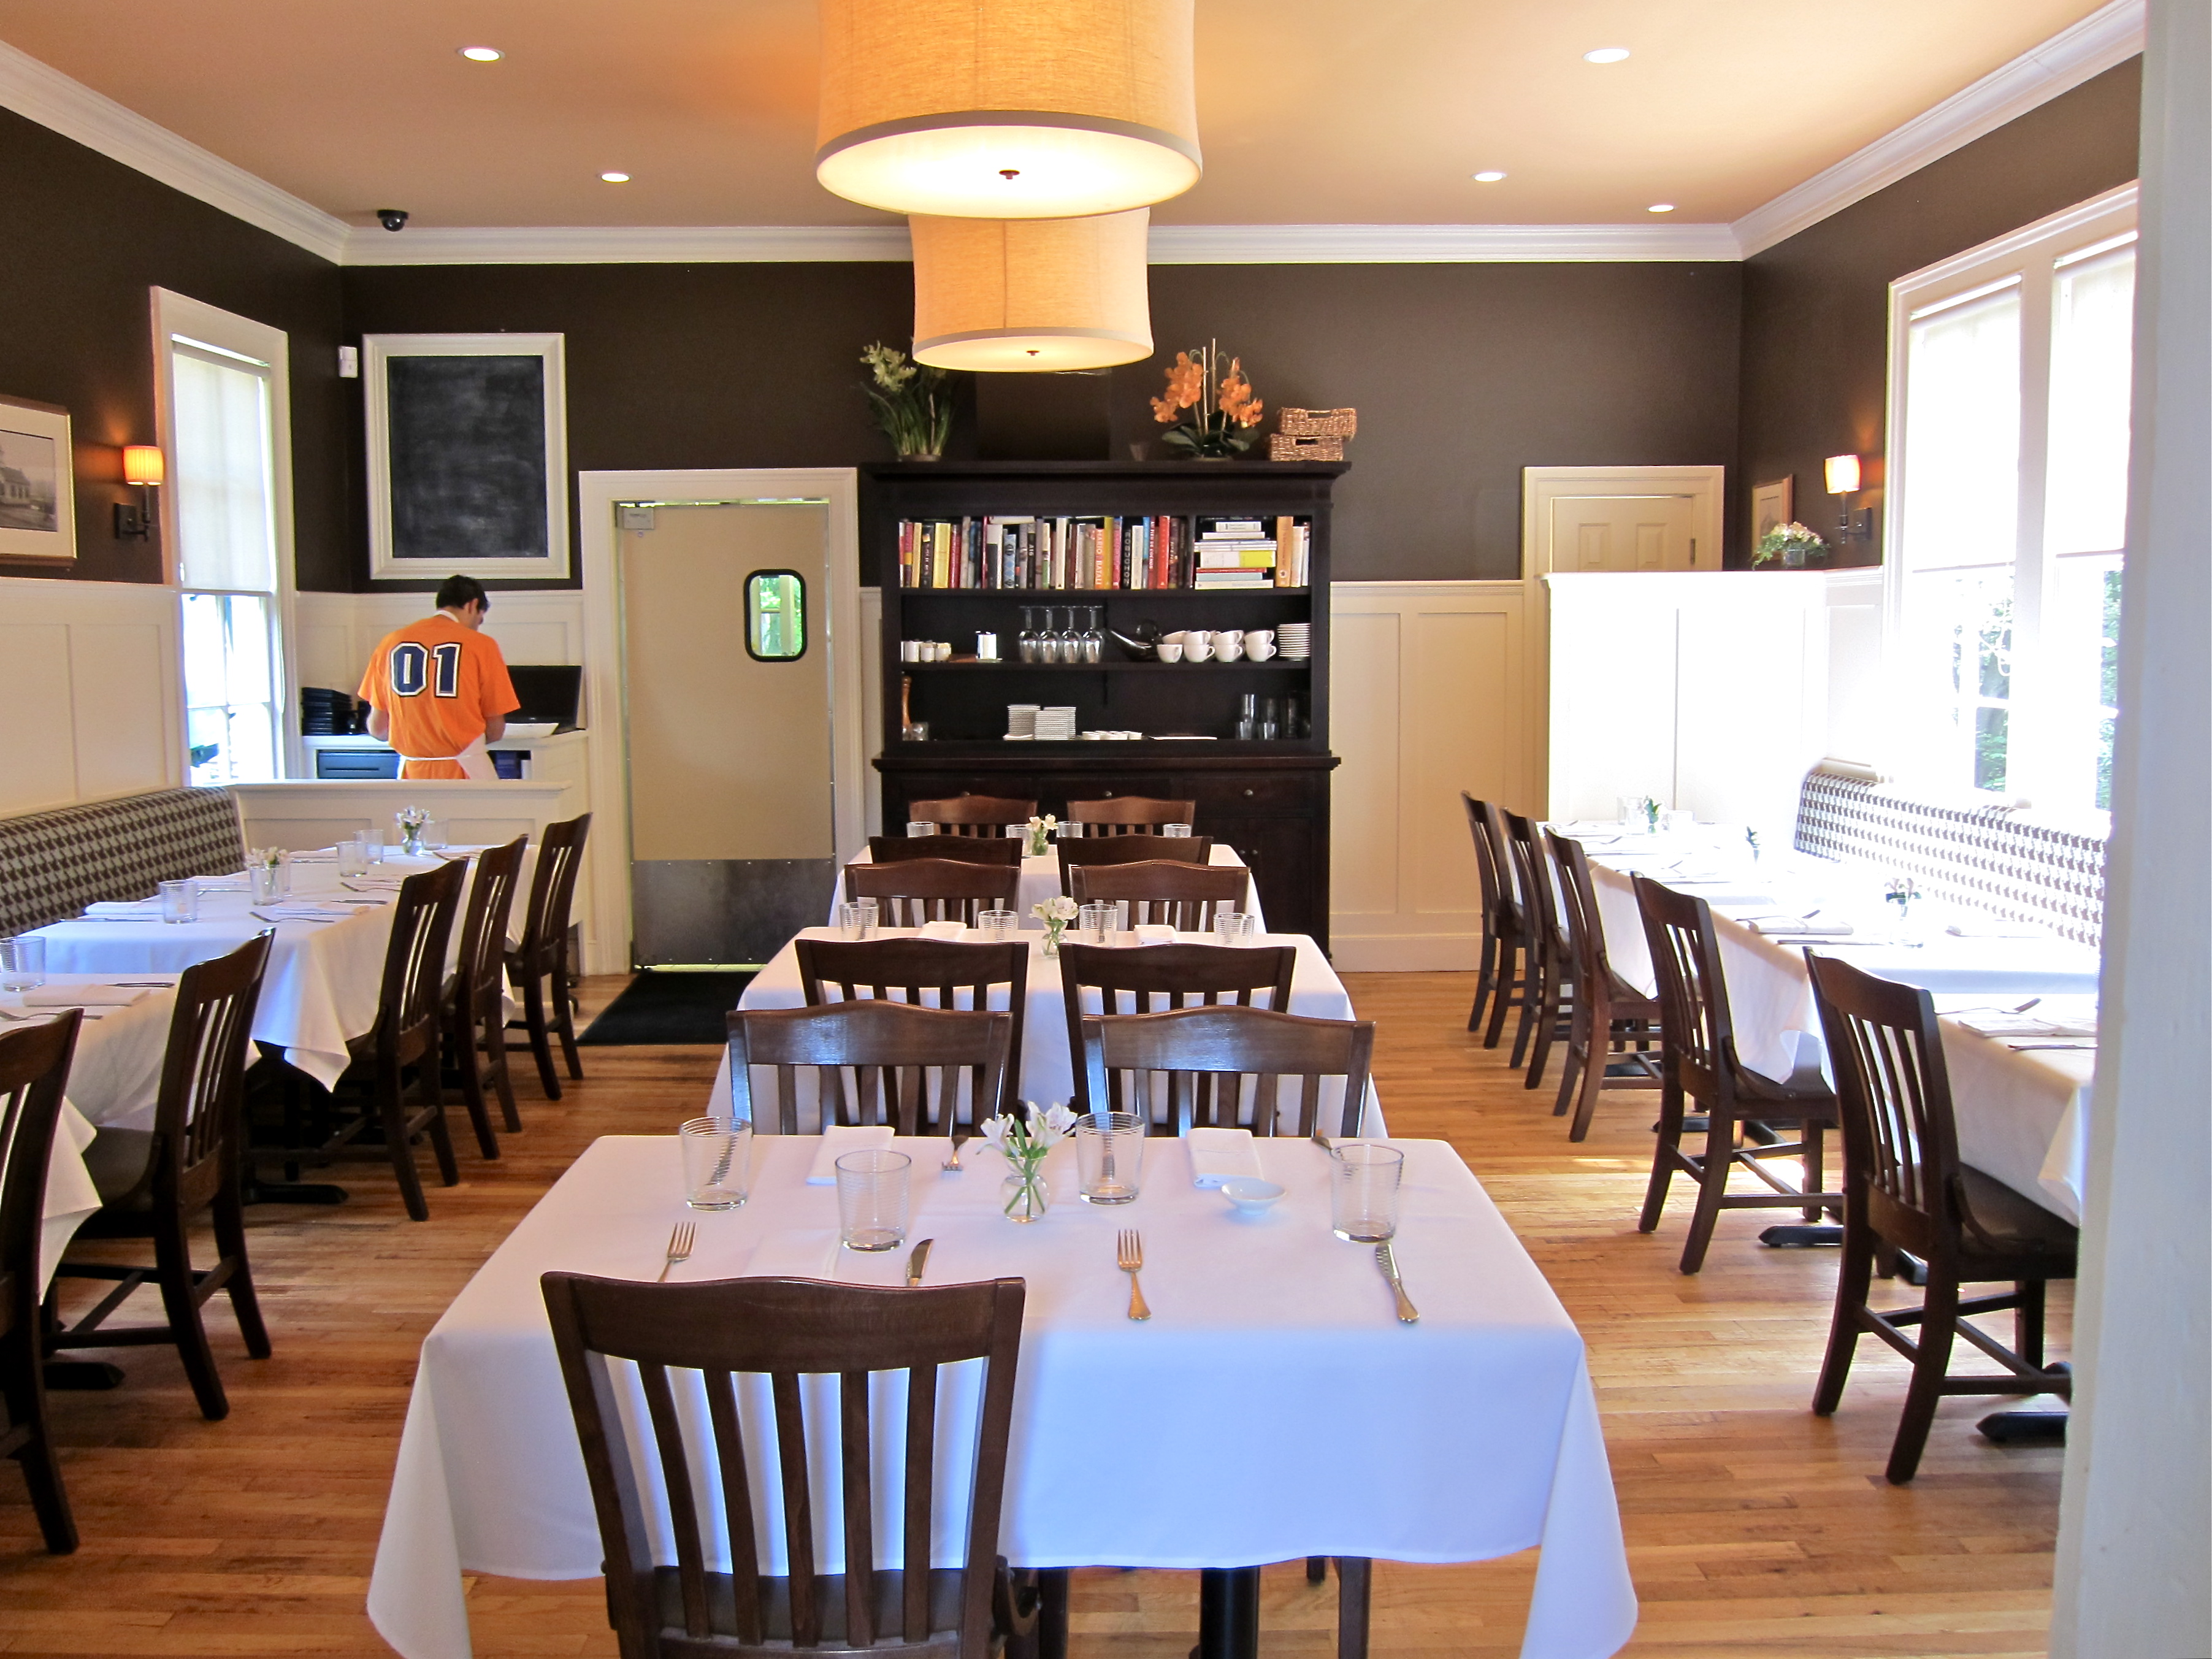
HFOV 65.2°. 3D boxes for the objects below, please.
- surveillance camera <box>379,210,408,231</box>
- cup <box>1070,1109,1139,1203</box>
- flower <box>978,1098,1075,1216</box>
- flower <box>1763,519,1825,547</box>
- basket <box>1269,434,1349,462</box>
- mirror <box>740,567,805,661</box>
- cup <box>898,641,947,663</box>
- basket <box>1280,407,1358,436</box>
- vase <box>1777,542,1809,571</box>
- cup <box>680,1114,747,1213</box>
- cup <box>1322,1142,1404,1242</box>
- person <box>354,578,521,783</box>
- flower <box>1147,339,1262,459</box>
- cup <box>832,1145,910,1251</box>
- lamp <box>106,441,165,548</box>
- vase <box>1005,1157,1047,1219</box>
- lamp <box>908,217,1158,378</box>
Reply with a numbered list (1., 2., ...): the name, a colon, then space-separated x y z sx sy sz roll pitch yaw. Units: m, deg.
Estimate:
1. surveillance camera: -3.409 -2.922 8.280 0.098 0.040 0.101 -2 -3 -2
2. cup: -0.003 0.592 3.131 0.129 0.146 0.128 0 5 0
3. flower: -0.153 0.564 3.074 0.169 0.189 0.184 2 9 9
4. flower: 3.192 -1.362 8.004 0.160 0.073 0.164 0 0 -1
5. basket: 0.959 -1.827 8.313 0.334 0.155 0.225 0 7 5
6. mirror: -1.739 -1.141 8.993 0.446 0.674 0.045 0 6 -3
7. cup: -0.883 -0.869 8.491 0.105 0.082 0.188 3 4 30
8. basket: 1.025 -1.965 8.389 0.346 0.129 0.117 -2 8 -9
9. vase: 3.263 -1.282 8.184 0.074 0.102 0.177 -3 8 -18
10. cup: -0.682 0.582 3.031 0.146 0.150 0.131 -1 4 -10
11. cup: 0.432 0.610 2.908 0.130 0.148 0.151 0 -2 2
12. person: -2.921 -0.656 7.568 0.618 0.883 0.294 -3 8 -17
13. flower: 0.512 -2.112 8.549 0.617 0.730 0.657 0 -3 -2
14. cup: -0.373 0.602 2.895 0.148 0.167 0.146 -1 7 0
15. lamp: -3.930 -1.370 7.053 0.128 0.387 0.255 1 8 8
16. vase: -0.135 0.623 3.024 0.085 0.096 0.087 2 1 0
17. lamp: -0.224 -1.570 5.218 0.562 0.643 0.555 -2 7 -27
